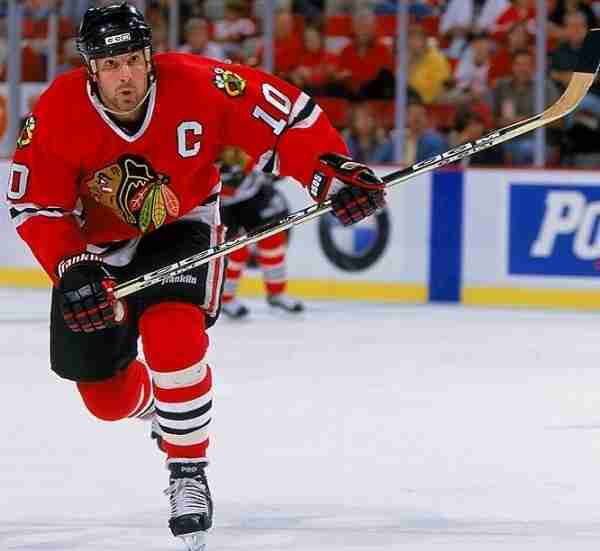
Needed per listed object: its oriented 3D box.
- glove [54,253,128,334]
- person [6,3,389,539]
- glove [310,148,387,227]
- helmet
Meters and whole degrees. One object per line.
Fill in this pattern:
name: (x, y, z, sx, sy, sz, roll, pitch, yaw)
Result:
glove: (-0.508, 0.048, 2.496, 0.177, 0.132, 0.187, -9, 51, -6)
person: (-0.272, -0.041, 2.605, 0.752, 1.312, 0.543, -8, 12, -33)
glove: (0.116, -0.219, 2.541, 0.234, 0.137, 0.092, 17, 26, 24)
helmet: (-0.465, -0.591, 2.518, 0.182, 0.194, 0.169, -3, 9, -10)
